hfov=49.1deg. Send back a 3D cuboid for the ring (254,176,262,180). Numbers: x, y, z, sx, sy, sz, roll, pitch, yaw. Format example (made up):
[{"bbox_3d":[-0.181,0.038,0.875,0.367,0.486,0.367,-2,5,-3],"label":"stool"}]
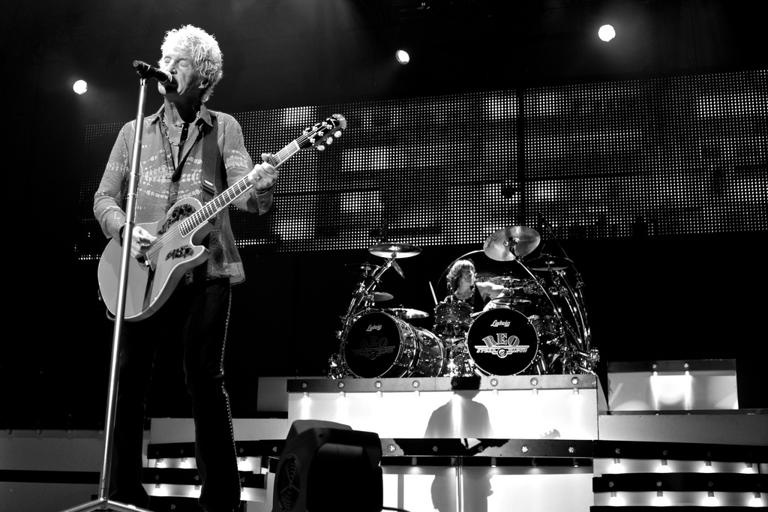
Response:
[{"bbox_3d":[-0.784,-0.482,5.193,0.041,0.027,0.009,-3,-16,15],"label":"ring"}]

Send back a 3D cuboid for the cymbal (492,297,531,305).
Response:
[{"bbox_3d":[1.122,0.397,7.555,0.345,0.062,0.227,-2,-16,13],"label":"cymbal"}]

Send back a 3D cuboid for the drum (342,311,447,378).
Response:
[{"bbox_3d":[-0.014,0.821,7.378,0.538,0.588,0.710,2,-14,19],"label":"drum"}]

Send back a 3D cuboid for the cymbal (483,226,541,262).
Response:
[{"bbox_3d":[1.140,-0.127,7.584,0.358,0.087,0.368,-19,-51,21],"label":"cymbal"}]
